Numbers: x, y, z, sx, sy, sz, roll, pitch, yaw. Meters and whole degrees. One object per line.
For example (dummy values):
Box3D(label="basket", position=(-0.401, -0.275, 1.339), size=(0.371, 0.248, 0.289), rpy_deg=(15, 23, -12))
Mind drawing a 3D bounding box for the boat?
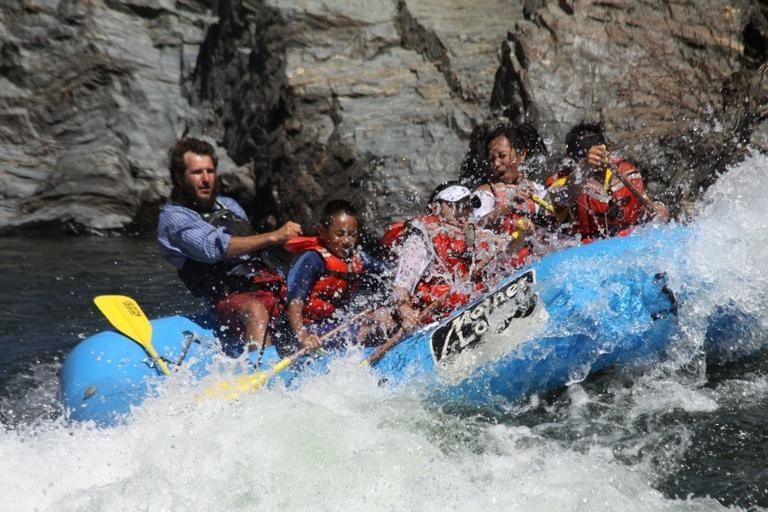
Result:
Box3D(label="boat", position=(0.048, 0.975, 7.559), size=(4.915, 0.848, 2.350), rpy_deg=(-20, 7, 2))

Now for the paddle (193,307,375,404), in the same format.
Box3D(label="paddle", position=(-0.866, 0.898, 7.383), size=(1.578, 0.211, 0.132), rpy_deg=(-22, 62, -10))

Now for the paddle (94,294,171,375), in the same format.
Box3D(label="paddle", position=(-2.203, 0.756, 7.672), size=(0.389, 1.270, 0.073), rpy_deg=(-8, 44, 20))
